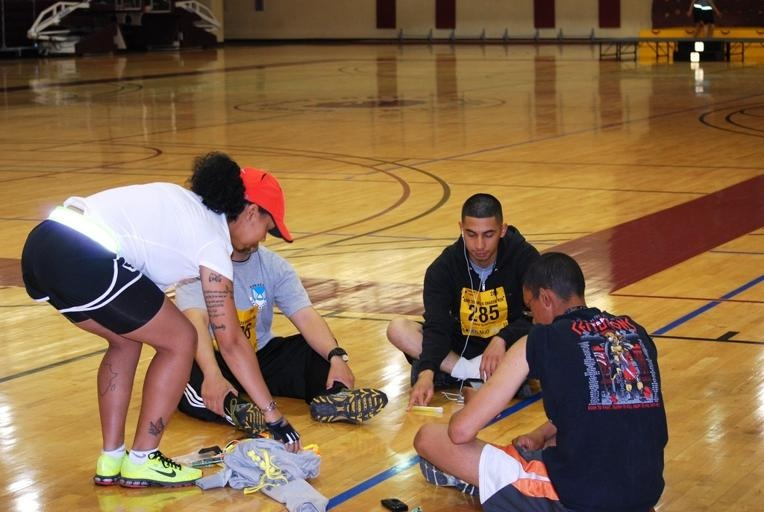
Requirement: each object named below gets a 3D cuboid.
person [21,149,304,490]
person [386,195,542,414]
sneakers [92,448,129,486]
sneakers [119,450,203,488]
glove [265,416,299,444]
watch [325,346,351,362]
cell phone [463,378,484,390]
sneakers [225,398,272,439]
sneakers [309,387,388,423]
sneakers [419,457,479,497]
[{"bbox_3d":[-1.021,0.274,2.965,1.352,1.383,0.908,-2,0,-26],"label":"person"},{"bbox_3d":[0.496,0.246,3.826,0.884,1.128,0.880,0,16,-14],"label":"person"},{"bbox_3d":[-1.201,0.934,2.880,0.089,0.101,0.226,1,9,5],"label":"sneakers"},{"bbox_3d":[-0.998,0.951,2.911,0.392,0.160,0.138,17,-27,-36],"label":"sneakers"},{"bbox_3d":[-0.449,0.787,2.966,0.151,0.104,0.045,44,0,-7],"label":"glove"},{"bbox_3d":[-0.256,0.562,3.724,0.124,0.119,0.070,11,43,-20],"label":"watch"},{"bbox_3d":[0.543,0.730,3.791,0.067,0.026,0.100,-3,2,-16],"label":"cell phone"},{"bbox_3d":[-0.719,0.837,3.528,0.158,0.177,0.421,0,-2,-17],"label":"sneakers"},{"bbox_3d":[-0.180,0.801,3.570,0.428,0.169,0.167,-2,6,12],"label":"sneakers"},{"bbox_3d":[0.286,0.970,2.843,0.212,0.089,0.154,28,-1,13],"label":"sneakers"}]
